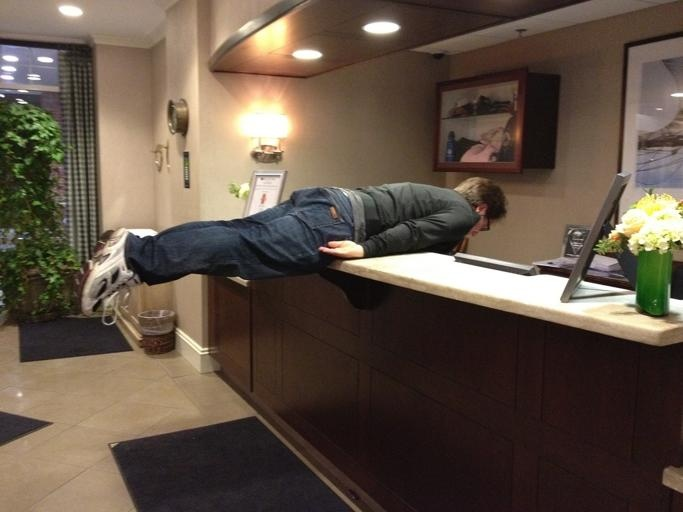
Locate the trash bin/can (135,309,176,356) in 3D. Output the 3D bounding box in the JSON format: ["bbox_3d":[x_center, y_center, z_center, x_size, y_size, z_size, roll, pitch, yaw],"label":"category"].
[{"bbox_3d":[-1.606,0.704,4.676,0.412,0.372,0.383,-1,2,2],"label":"trash bin/can"}]

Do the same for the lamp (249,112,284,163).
[{"bbox_3d":[-0.575,-0.961,4.129,0.348,0.392,0.225,-7,12,-29],"label":"lamp"}]

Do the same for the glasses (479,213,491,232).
[{"bbox_3d":[0.839,-0.203,2.950,0.038,0.101,0.105,-2,-2,9],"label":"glasses"}]

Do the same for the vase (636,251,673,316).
[{"bbox_3d":[0.908,0.069,1.464,0.095,0.174,0.169,6,12,31],"label":"vase"}]

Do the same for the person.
[{"bbox_3d":[-0.260,-0.107,2.536,2.317,0.528,0.769,-4,15,-16],"label":"person"}]
